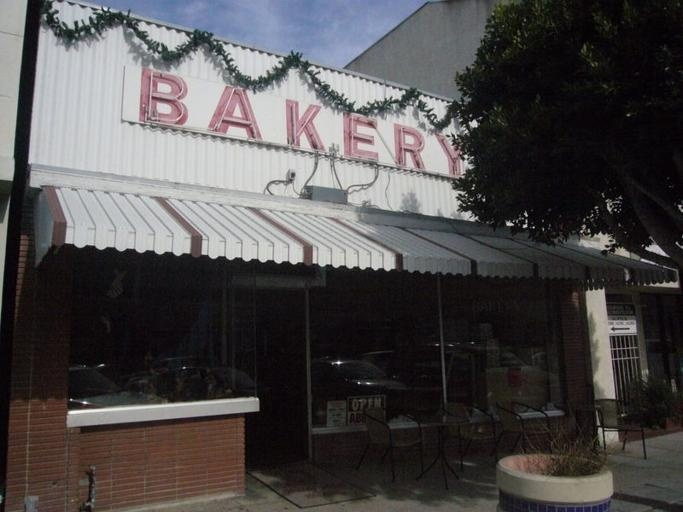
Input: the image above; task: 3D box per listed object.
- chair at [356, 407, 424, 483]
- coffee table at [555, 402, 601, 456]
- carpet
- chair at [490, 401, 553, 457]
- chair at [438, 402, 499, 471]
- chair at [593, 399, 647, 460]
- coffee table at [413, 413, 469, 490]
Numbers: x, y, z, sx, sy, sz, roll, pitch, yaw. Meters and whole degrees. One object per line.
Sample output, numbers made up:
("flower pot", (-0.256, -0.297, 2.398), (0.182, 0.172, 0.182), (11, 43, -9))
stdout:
("chair", (0.815, 3.288, 11.270), (0.993, 1.155, 0.956), (-4, -12, 31))
("coffee table", (4.823, 3.333, 12.755), (0.649, 0.928, 0.918), (-14, 7, 14))
("carpet", (-0.512, 3.655, 10.247), (1.304, 0.084, 2.031), (2, -1, -35))
("chair", (3.856, 3.319, 12.988), (0.769, 1.197, 0.753), (-14, 5, 12))
("chair", (2.318, 3.375, 11.825), (0.771, 1.292, 0.872), (11, -30, -25))
("chair", (5.660, 3.442, 12.967), (0.692, 1.111, 0.706), (1, -9, -14))
("coffee table", (1.720, 3.316, 10.962), (0.782, 1.064, 0.898), (-2, 0, 9))
